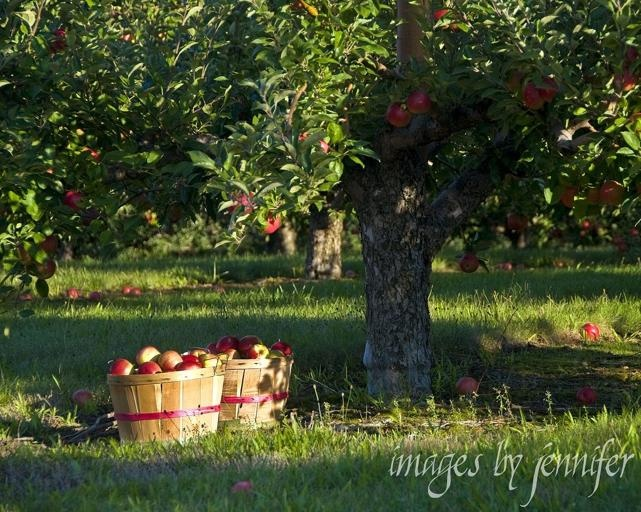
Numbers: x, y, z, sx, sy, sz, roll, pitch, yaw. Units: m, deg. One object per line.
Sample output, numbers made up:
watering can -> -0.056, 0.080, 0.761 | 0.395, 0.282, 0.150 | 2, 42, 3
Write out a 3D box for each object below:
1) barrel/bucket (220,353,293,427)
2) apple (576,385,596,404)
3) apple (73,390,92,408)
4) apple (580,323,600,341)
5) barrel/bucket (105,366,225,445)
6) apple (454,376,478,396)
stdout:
barrel/bucket -> -0.560, 1.176, 10.770 | 0.667, 0.574, 0.694 | 2, -15, 0
apple -> 2.157, 1.135, 10.730 | 0.147, 0.137, 0.149 | -3, -6, 10
apple -> -2.014, 1.198, 11.139 | 0.113, 0.088, 0.127 | 2, 3, 11
apple -> 2.650, 0.728, 12.989 | 0.141, 0.199, 0.158 | 3, 32, 25
barrel/bucket -> -1.194, 1.150, 10.166 | 0.580, 0.445, 0.588 | -4, -2, 0
apple -> 1.240, 1.098, 11.179 | 0.191, 0.156, 0.308 | -3, -6, 6
